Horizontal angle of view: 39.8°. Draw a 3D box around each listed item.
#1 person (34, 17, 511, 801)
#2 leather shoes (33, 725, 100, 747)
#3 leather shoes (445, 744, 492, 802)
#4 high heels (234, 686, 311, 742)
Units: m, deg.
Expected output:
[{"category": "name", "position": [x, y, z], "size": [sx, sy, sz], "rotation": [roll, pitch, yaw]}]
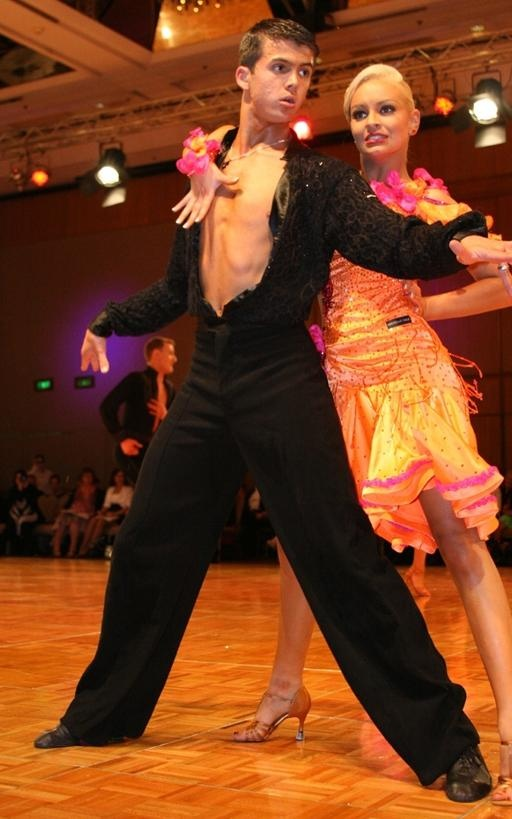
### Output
[{"category": "person", "position": [0.064, 0.086, 1.383], "size": [0.880, 1.413, 0.554], "rotation": [10, 16, 35]}, {"category": "leather shoes", "position": [-0.419, 0.728, 1.601], "size": [0.158, 0.058, 0.052], "rotation": [8, -18, -9]}, {"category": "leather shoes", "position": [0.364, 0.623, 1.217], "size": [0.061, 0.050, 0.165], "rotation": [-2, -4, 27]}, {"category": "high heels", "position": [0.037, 0.723, 1.688], "size": [0.188, 0.117, 0.063], "rotation": [-4, -12, 2]}]
